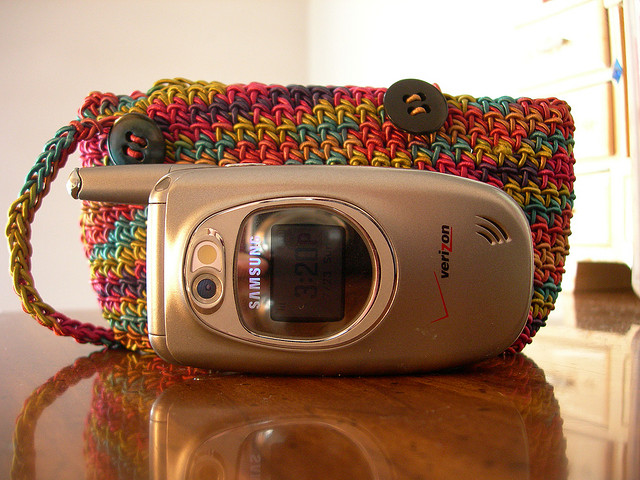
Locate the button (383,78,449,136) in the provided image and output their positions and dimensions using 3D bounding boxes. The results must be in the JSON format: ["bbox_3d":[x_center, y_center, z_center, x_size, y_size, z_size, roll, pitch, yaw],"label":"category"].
[{"bbox_3d":[0.082,-0.114,0.525,0.055,0.050,0.015,0,3,6],"label":"button"}]

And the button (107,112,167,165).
[{"bbox_3d":[-0.158,-0.087,0.525,0.047,0.043,0.008,0,3,3],"label":"button"}]
